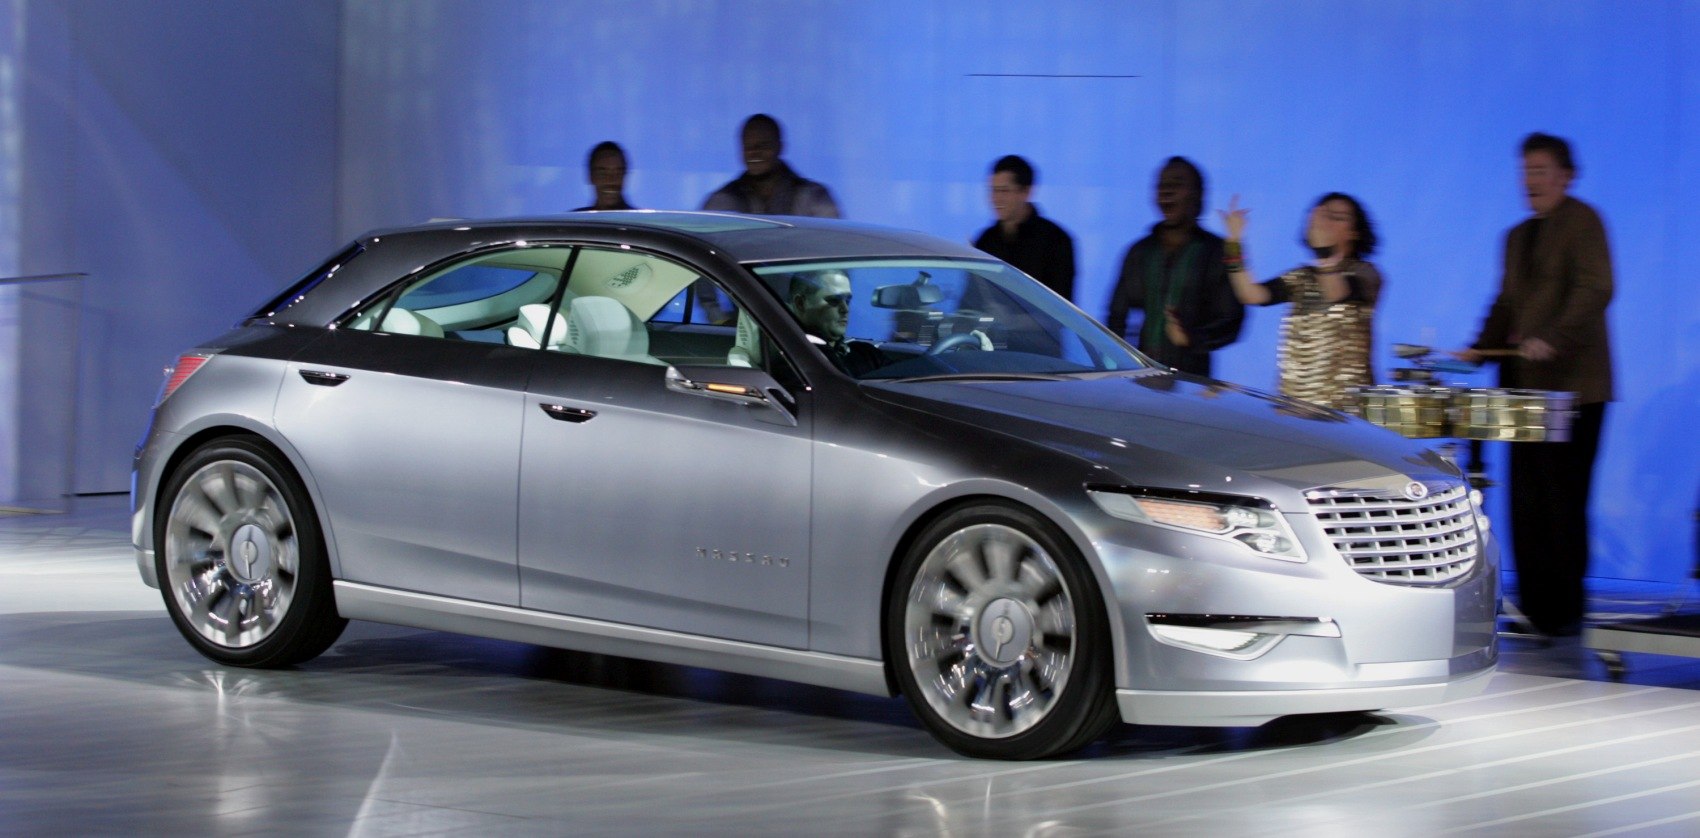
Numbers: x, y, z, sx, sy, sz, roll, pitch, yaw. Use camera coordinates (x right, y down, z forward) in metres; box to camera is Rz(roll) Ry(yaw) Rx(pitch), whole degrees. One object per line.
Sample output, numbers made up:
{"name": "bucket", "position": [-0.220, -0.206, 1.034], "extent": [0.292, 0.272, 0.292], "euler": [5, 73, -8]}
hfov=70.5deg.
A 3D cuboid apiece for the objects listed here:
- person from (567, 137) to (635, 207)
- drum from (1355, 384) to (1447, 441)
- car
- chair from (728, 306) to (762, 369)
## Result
{"name": "person", "position": [-2.293, -2.319, 11.497], "extent": [0.317, 0.650, 0.616], "euler": [1, 7, -20]}
{"name": "drum", "position": [3.786, -0.066, 8.126], "extent": [0.360, 0.119, 0.395], "euler": [-12, 22, 5]}
{"name": "car", "position": [-0.577, 0.280, 7.122], "extent": [7.349, 1.897, 3.131], "euler": [2, 2, 25]}
{"name": "chair", "position": [-0.561, -0.426, 6.667], "extent": [0.195, 0.293, 0.131], "euler": [9, 11, 34]}
